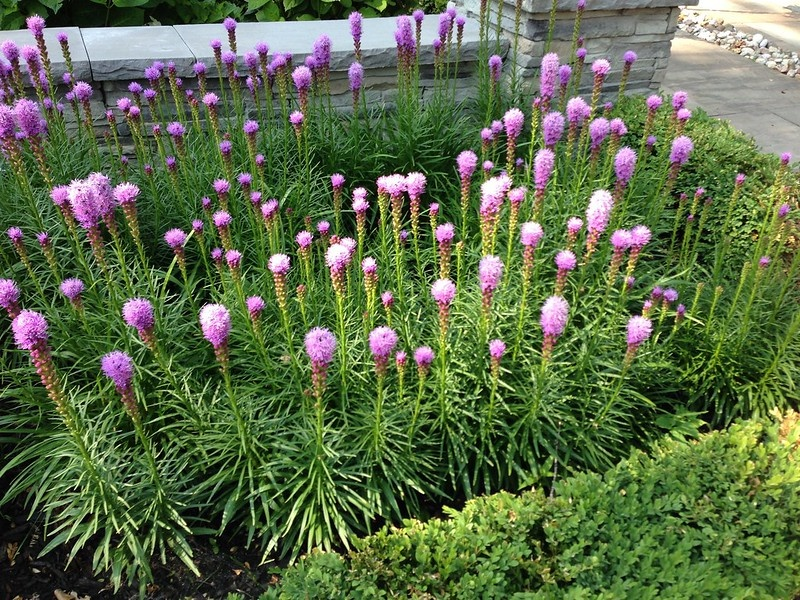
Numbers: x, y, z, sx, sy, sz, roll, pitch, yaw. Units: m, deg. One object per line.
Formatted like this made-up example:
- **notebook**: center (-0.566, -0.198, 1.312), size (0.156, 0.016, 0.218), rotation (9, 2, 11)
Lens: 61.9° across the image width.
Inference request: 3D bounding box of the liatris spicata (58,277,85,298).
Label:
- **liatris spicata**: center (-2.062, -0.077, 4.184), size (0.091, 0.098, 0.097), rotation (12, 33, 20)

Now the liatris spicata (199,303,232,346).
- **liatris spicata**: center (-1.012, 0.133, 3.647), size (0.137, 0.272, 0.172), rotation (-12, 32, -21)

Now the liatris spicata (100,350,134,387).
- **liatris spicata**: center (-1.494, 0.349, 3.547), size (0.135, 0.182, 0.202), rotation (-7, 30, -13)

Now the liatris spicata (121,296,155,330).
- **liatris spicata**: center (-1.434, 0.075, 3.638), size (0.124, 0.199, 0.187), rotation (-18, 34, -29)
